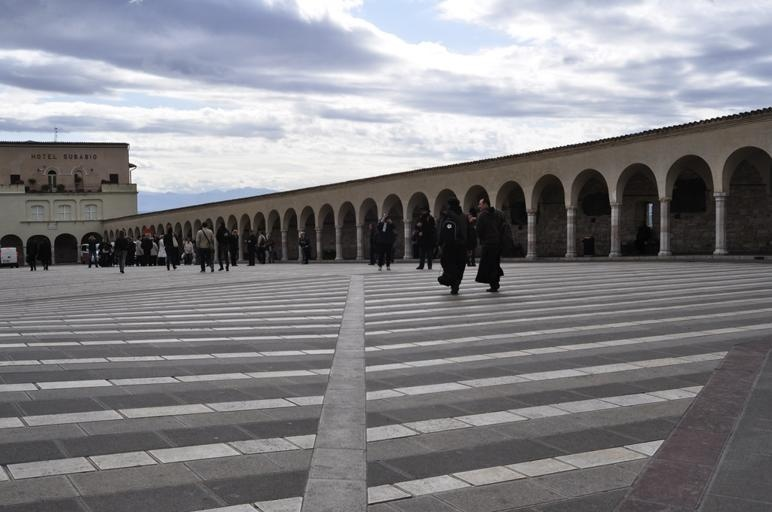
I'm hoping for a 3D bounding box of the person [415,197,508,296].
[{"bbox_3d":[1.663,-0.195,13.242,1.506,1.866,0.668,-4,6,-27],"label":"person"}]
